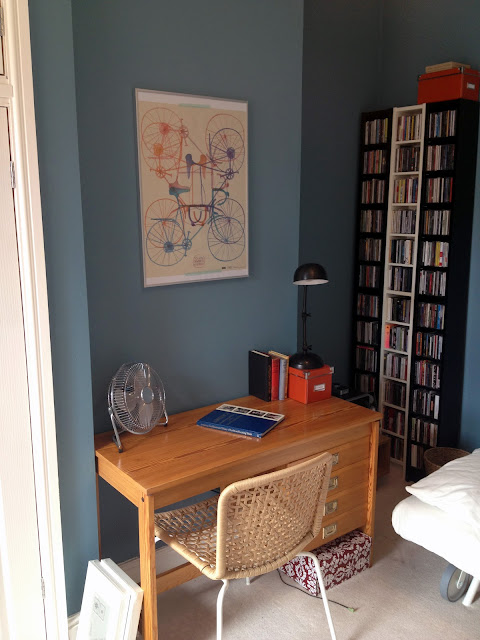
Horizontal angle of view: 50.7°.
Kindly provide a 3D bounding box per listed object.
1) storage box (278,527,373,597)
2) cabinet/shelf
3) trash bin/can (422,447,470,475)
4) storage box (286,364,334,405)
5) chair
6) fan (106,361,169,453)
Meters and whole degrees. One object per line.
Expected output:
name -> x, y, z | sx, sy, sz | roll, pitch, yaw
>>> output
storage box -> 0.367, 0.928, 2.100 | 0.292, 0.144, 0.202 | -7, 7, -42
cabinet/shelf -> 1.025, -0.152, 3.118 | 0.743, 2.238, 0.328 | 6, 8, 42
trash bin/can -> 1.178, 0.844, 2.886 | 0.212, 0.151, 0.219 | 5, 10, 37
storage box -> 0.317, 0.291, 2.296 | 0.165, 0.134, 0.163 | -10, 16, -44
chair -> 0.026, 0.751, 1.680 | 0.441, 0.743, 0.491 | -11, 23, -30
fan -> -0.374, 0.289, 1.816 | 0.136, 0.302, 0.264 | 6, 15, 32
